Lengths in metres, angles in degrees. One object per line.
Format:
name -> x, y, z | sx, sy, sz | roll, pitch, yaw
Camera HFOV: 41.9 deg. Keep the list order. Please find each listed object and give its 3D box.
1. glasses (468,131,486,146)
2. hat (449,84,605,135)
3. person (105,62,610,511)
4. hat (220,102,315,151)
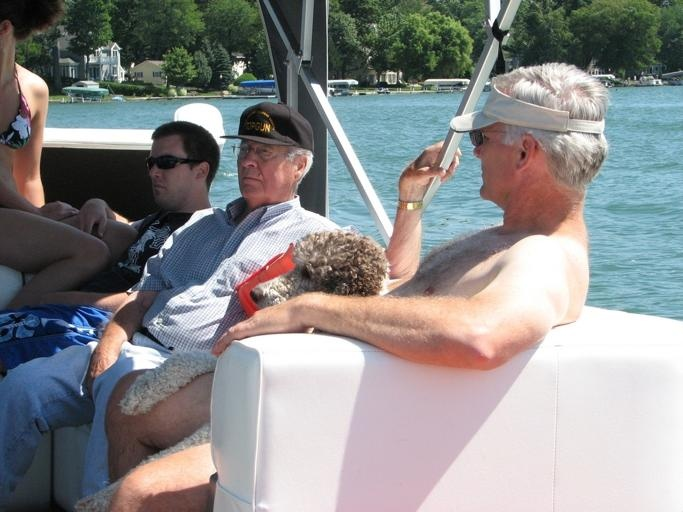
glasses -> 0.412, -0.360, 2.712 | 0.035, 0.040, 0.044 | -1, 38, -4
hat -> 0.529, -0.404, 2.601 | 0.315, 0.082, 0.202 | 14, 5, 20
person -> 0.178, -0.020, 3.031 | 1.498, 1.713, 1.103 | 11, 15, -9
hat -> -0.279, -0.495, 3.534 | 0.267, 0.150, 0.190 | 2, 8, -42
